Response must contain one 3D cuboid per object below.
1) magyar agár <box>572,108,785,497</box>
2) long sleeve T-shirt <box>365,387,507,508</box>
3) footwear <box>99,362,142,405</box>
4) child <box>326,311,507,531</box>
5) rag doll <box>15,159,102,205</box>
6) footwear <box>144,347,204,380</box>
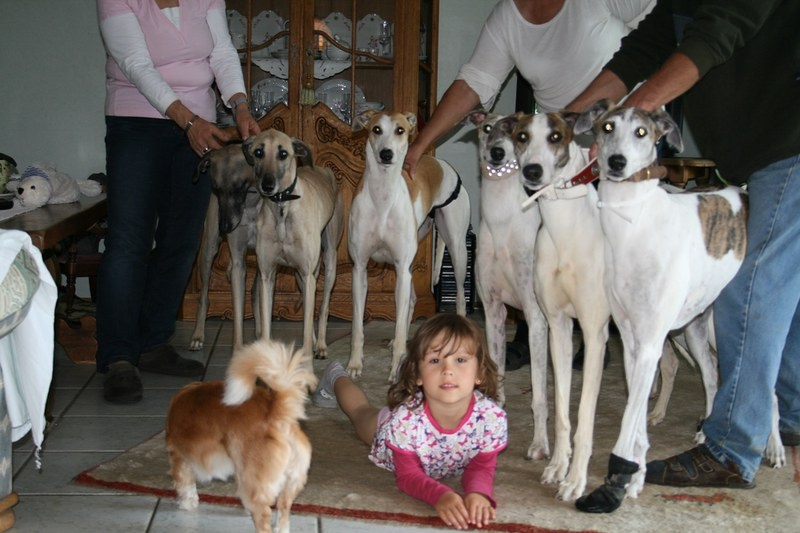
[{"bbox_3d":[1.214,0.188,3.208,0.759,1.808,0.383,0,9,-23],"label":"magyar agár"},{"bbox_3d":[0.194,0.818,3.394,0.566,0.530,1.012,5,0,-8],"label":"long sleeve T-shirt"},{"bbox_3d":[-1.749,0.700,4.249,0.244,0.195,0.439,6,5,-30],"label":"footwear"},{"bbox_3d":[0.110,0.662,3.297,0.499,0.642,1.072,-5,16,-7],"label":"child"},{"bbox_3d":[-2.057,-0.477,4.191,0.304,0.244,0.539,4,7,35],"label":"rag doll"},{"bbox_3d":[-1.530,0.641,4.631,0.505,0.231,0.175,5,4,-7],"label":"footwear"}]
